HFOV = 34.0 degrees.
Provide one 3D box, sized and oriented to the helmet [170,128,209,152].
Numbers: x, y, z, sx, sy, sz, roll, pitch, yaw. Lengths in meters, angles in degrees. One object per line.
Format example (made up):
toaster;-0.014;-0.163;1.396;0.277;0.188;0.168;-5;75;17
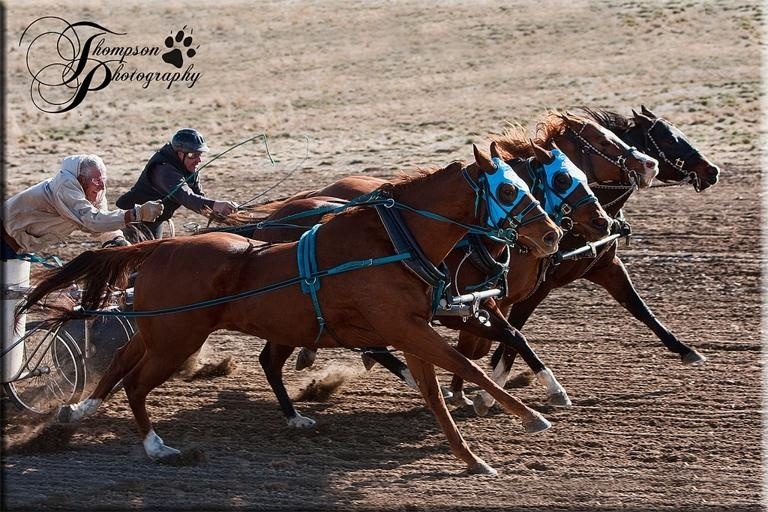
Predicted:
helmet;-2.671;-1.584;17.241;0.552;0.185;0.316;1;17;-20

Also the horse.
horse;-0.085;0.374;16.062;8.288;4.146;2.984;-3;19;-13

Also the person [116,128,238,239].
person;-3.102;-0.953;18.017;0.949;1.171;3.506;-10;-3;-34
